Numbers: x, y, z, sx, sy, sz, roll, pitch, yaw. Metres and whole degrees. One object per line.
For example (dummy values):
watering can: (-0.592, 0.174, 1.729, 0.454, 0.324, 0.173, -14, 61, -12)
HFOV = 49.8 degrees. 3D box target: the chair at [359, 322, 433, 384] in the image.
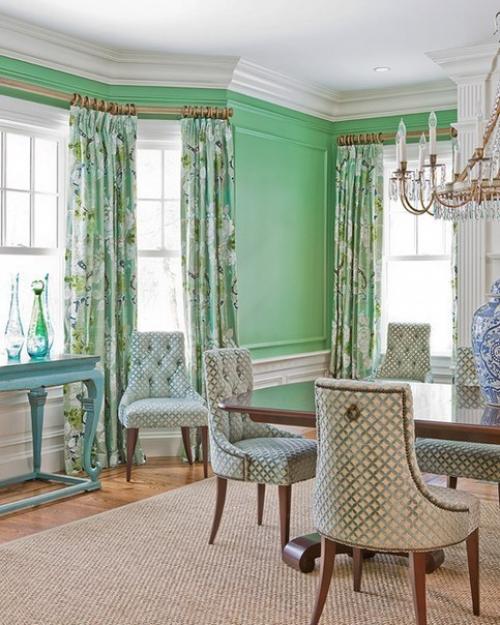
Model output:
chair: (1.315, 0.308, 4.777, 0.546, 0.865, 0.570, 2, -2, 18)

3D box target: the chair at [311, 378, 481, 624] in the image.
chair: (0.439, 0.550, 1.550, 0.506, 0.715, 0.426, 1, -4, -4)

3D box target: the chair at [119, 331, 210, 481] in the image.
chair: (-0.592, 0.620, 3.681, 0.588, 0.991, 0.636, 1, -4, -14)
